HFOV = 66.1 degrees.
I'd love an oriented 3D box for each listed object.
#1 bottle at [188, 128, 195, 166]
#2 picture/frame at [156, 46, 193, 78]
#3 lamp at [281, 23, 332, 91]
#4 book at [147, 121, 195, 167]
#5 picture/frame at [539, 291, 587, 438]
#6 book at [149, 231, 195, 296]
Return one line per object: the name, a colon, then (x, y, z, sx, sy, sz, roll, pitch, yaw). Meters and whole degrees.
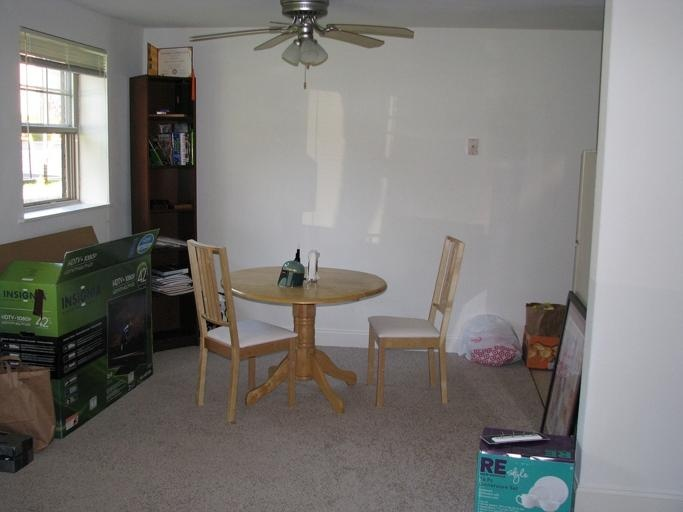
bottle: (-1.355, -0.995, 4.746, 0.054, 0.320, 0.047, 4, 12, 11)
picture/frame: (-1.477, -1.723, 4.642, 0.279, 0.254, 0.046, 2, 2, 0)
lamp: (-0.211, -1.301, 3.227, 0.252, 0.235, 0.307, 3, 12, 7)
book: (-1.534, -1.015, 4.753, 0.356, 0.378, 0.265, 13, 6, 14)
picture/frame: (1.338, 0.730, 3.185, 0.173, 0.866, 0.900, 7, 13, 23)
book: (-1.496, 0.073, 4.624, 0.300, 0.523, 0.556, 1, 5, 10)
